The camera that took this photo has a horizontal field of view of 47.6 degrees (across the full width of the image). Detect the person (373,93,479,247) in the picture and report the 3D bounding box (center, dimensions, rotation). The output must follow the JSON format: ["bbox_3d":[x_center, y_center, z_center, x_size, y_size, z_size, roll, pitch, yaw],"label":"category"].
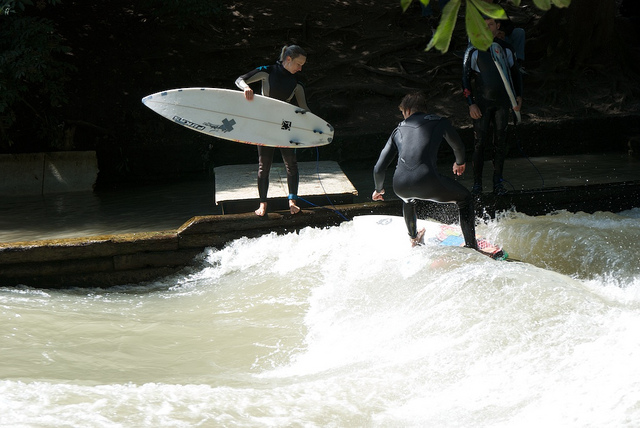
[{"bbox_3d":[1.506,-0.607,10.475,1.466,2.234,0.605,0,7,10],"label":"person"}]

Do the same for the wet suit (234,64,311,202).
[{"bbox_3d":[-0.739,-1.260,11.379,1.116,2.138,0.461,-2,7,-7],"label":"wet suit"}]

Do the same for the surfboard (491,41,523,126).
[{"bbox_3d":[2.949,-2.193,11.533,0.561,1.051,0.203,-6,9,-35],"label":"surfboard"}]
